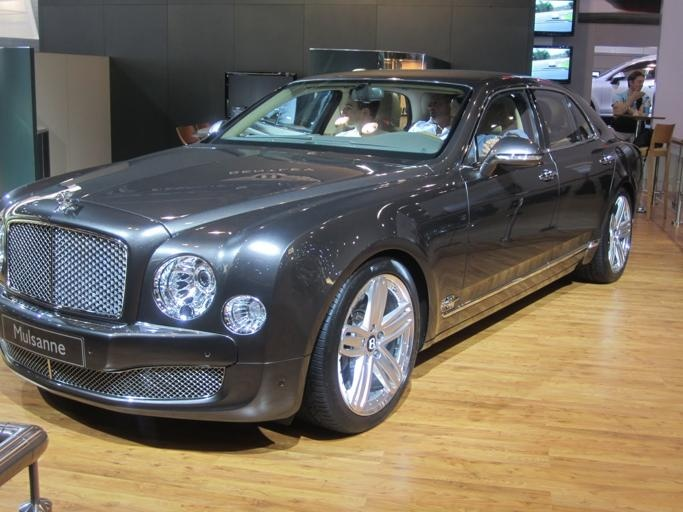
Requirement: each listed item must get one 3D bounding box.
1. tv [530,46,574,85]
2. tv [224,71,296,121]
[{"bbox_3d":[7.848,-7.198,19.761,2.031,1.410,0.173,-10,20,-20],"label":"tv"},{"bbox_3d":[-1.654,-3.170,10.382,1.669,0.932,0.139,-15,27,-39],"label":"tv"}]
